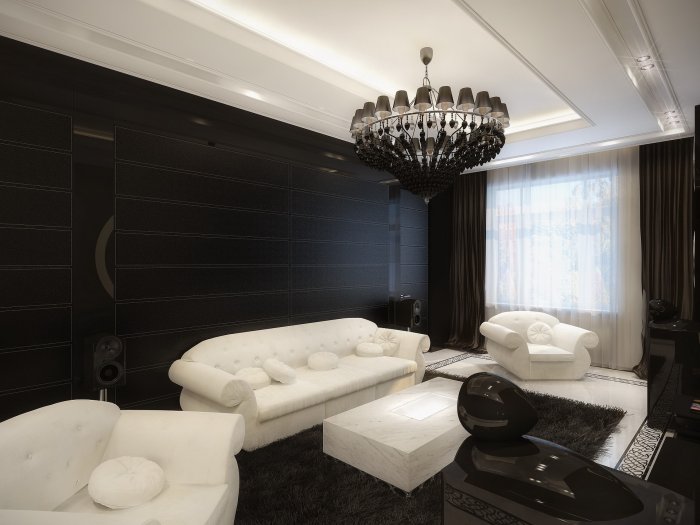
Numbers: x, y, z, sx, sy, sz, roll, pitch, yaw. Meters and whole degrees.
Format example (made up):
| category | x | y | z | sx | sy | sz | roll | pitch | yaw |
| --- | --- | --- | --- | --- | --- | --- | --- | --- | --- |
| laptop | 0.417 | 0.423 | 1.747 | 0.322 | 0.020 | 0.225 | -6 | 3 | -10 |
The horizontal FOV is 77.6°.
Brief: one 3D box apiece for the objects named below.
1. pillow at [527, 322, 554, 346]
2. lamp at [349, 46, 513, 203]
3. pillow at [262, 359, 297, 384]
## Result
| category | x | y | z | sx | sy | sz | roll | pitch | yaw |
| --- | --- | --- | --- | --- | --- | --- | --- | --- | --- |
| pillow | 2.429 | 0.918 | 5.590 | 0.251 | 0.269 | 0.098 | -4 | -16 | 26 |
| lamp | 0.714 | -1.080 | 3.986 | 1.240 | 1.268 | 1.302 | -5 | -10 | 28 |
| pillow | -0.650 | 1.027 | 4.101 | 0.232 | 0.091 | 0.215 | 25 | 4 | 34 |
